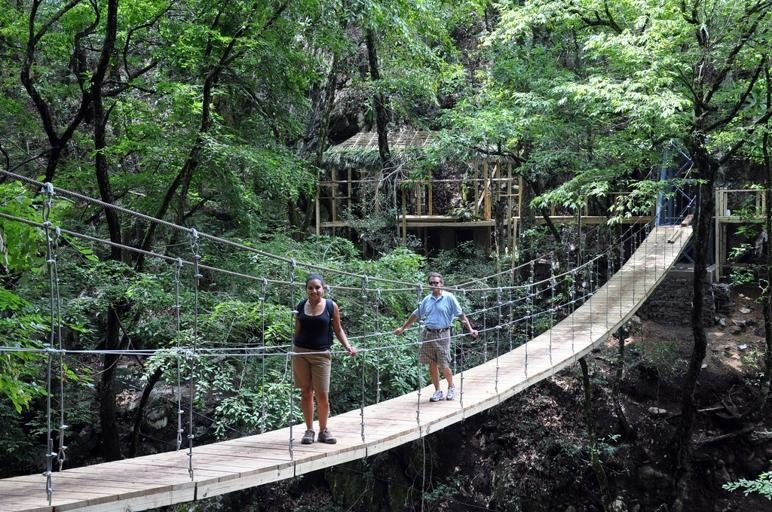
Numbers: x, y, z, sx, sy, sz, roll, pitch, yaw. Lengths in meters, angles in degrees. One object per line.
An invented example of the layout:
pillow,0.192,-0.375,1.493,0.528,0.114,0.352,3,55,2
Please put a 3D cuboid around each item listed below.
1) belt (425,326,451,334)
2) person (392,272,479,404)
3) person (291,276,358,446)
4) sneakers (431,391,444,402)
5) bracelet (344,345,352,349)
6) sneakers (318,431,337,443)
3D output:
belt,0.643,0.928,8.643,0.307,0.078,0.075,-2,2,-7
person,0.673,1.049,8.879,0.907,1.671,0.806,-1,3,4
person,-0.728,1.170,7.642,0.586,1.927,0.415,-2,3,-9
sneakers,0.674,1.827,8.996,0.083,0.110,0.237,-4,-5,29
bracelet,-0.407,1.002,7.617,0.056,0.043,0.017,2,0,-33
sneakers,-0.662,2.059,7.840,0.097,0.106,0.236,1,-6,-34
